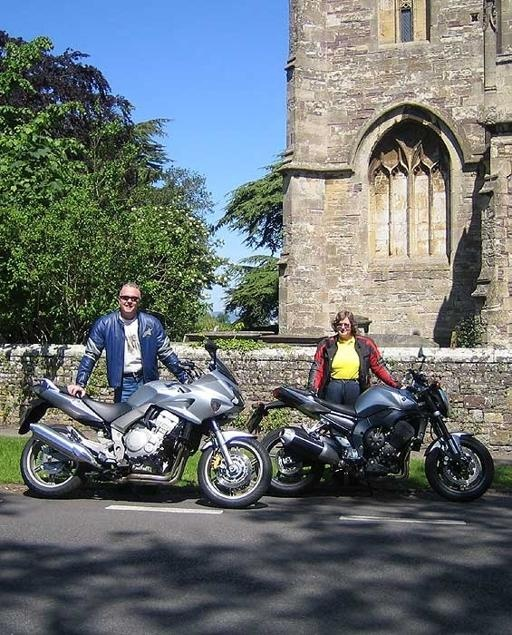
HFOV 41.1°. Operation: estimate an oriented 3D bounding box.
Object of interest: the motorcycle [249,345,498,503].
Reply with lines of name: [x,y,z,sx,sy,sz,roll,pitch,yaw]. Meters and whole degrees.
motorcycle: [1.036,1.105,6.265,2.240,1.190,0.733,2,-7,-1]
